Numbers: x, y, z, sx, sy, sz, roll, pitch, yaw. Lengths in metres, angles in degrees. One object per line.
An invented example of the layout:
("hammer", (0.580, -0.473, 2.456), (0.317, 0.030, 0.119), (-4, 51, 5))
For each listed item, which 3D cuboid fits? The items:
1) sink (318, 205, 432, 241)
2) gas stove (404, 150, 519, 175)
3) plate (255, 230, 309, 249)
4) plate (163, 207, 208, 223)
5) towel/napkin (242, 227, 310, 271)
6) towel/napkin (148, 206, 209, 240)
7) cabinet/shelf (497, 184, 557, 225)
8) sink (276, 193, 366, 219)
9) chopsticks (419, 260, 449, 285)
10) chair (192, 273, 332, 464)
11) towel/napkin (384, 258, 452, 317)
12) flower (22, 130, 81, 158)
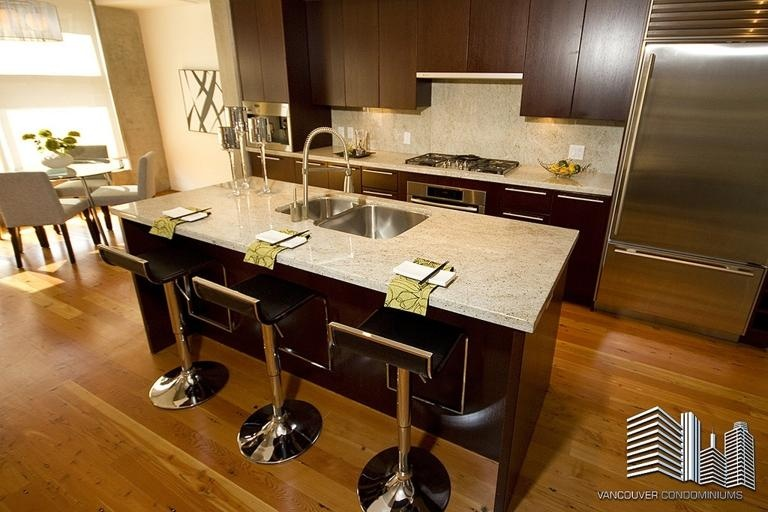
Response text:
("sink", (-0.118, -0.230, 3.977), (0.456, 0.260, 0.455), (19, 32, 36))
("gas stove", (0.830, -0.982, 5.382), (1.079, 0.082, 0.604), (10, 25, 27))
("plate", (-0.723, -0.117, 3.555), (0.238, 0.032, 0.173), (12, 24, 25))
("plate", (-1.519, -0.317, 3.897), (0.221, 0.034, 0.157), (13, 24, 25))
("towel/napkin", (-0.730, -0.075, 3.577), (0.327, 0.157, 0.470), (14, 27, 34))
("towel/napkin", (-1.559, -0.283, 3.875), (0.298, 0.108, 0.315), (15, 28, 26))
("cabinet/shelf", (1.359, -0.481, 4.872), (0.403, 0.229, 0.390), (11, 22, 29))
("sink", (-0.545, -0.400, 4.077), (0.344, 0.167, 0.426), (18, 29, 35))
("chopsticks", (0.306, 0.112, 3.215), (0.020, 0.027, 0.285), (15, 35, 36))
("chair", (-0.813, 0.726, 3.642), (0.709, 1.317, 0.745), (9, 27, 25))
("towel/napkin", (0.219, 0.156, 3.185), (0.326, 0.140, 0.397), (12, 31, 26))
("flower", (-4.135, -1.361, 6.290), (0.648, 0.234, 0.640), (13, 16, 29))
